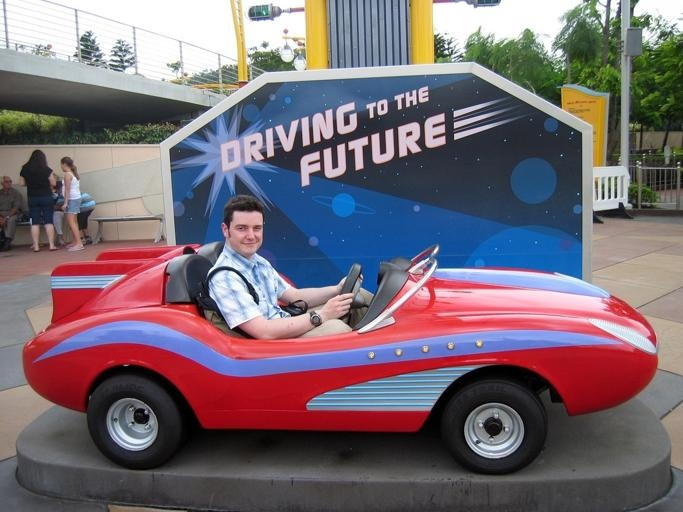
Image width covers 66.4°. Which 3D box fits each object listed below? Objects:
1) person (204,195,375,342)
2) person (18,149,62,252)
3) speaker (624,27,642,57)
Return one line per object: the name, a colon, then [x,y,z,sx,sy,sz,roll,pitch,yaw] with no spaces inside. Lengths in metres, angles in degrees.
person: [-0.304,0.008,3.422,0.999,0.896,0.806,-4,10,-2]
person: [-6.735,-1.234,11.620,0.625,2.235,1.048,-9,13,-32]
speaker: [8.755,-6.378,15.462,0.412,0.845,0.837,4,13,28]
